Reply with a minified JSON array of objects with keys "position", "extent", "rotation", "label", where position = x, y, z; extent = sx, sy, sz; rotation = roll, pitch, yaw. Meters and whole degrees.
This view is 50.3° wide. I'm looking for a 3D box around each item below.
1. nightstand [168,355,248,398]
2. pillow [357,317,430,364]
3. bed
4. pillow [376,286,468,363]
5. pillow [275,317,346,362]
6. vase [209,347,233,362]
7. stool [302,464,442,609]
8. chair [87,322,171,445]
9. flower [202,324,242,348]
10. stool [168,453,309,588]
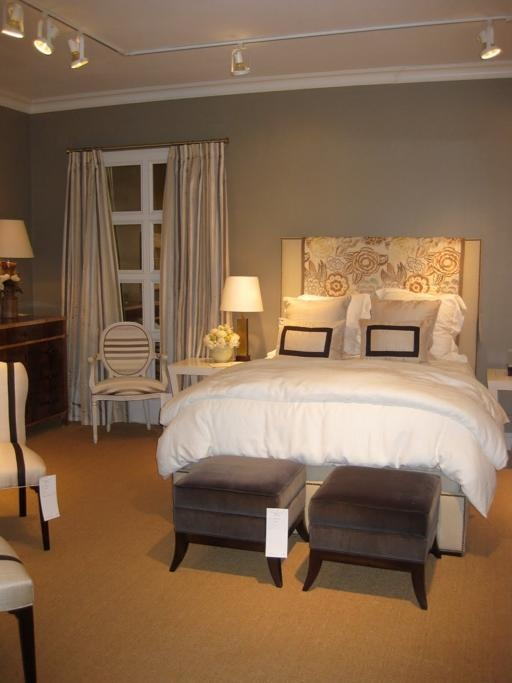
[{"position":[-0.499,0.218,4.667],"extent":[0.366,0.462,0.488],"rotation":[1,7,7],"label":"nightstand"},{"position":[0.976,-0.007,3.880],"extent":[0.453,0.269,0.256],"rotation":[1,3,10],"label":"pillow"},{"position":[0.457,0.244,3.277],"extent":[1.967,1.869,0.660],"rotation":[1,0,15],"label":"bed"},{"position":[1.440,-0.148,4.226],"extent":[0.588,0.603,0.181],"rotation":[1,-19,24],"label":"pillow"},{"position":[0.416,-0.019,4.183],"extent":[0.510,0.281,0.472],"rotation":[1,3,7],"label":"pillow"},{"position":[-0.281,0.110,4.611],"extent":[0.143,0.098,0.136],"rotation":[-1,2,-29],"label":"vase"},{"position":[0.497,0.819,2.348],"extent":[0.512,0.437,0.509],"rotation":[2,4,22],"label":"stool"},{"position":[-1.118,0.334,4.819],"extent":[0.662,0.992,0.668],"rotation":[1,3,8],"label":"chair"},{"position":[-0.283,-0.036,4.529],"extent":[0.200,0.158,0.220],"rotation":[1,-1,10],"label":"flower"},{"position":[-0.076,0.689,2.420],"extent":[0.477,0.419,0.514],"rotation":[2,8,18],"label":"stool"}]
